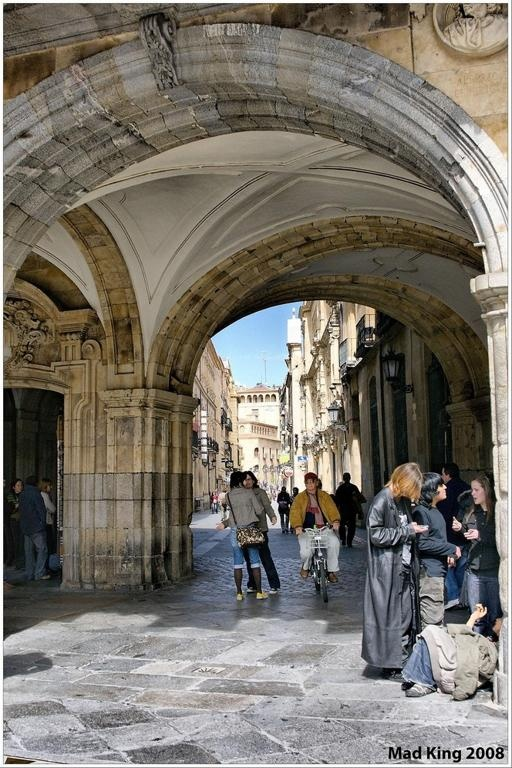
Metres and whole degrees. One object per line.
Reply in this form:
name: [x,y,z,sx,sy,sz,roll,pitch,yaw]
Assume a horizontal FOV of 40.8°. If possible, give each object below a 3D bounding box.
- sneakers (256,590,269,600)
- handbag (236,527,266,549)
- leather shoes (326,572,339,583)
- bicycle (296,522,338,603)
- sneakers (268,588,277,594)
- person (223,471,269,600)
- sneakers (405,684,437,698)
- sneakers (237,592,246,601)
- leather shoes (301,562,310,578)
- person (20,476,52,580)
sneakers: [0.063,2.443,7.970,0.078,0.075,0.166,0,2,16]
handbag: [-0.082,1.739,7.757,0.308,0.244,0.120,-3,-37,-19]
leather shoes: [0.867,2.227,7.927,0.141,0.162,0.415,-2,-16,2]
bicycle: [0.713,2.071,7.966,0.439,0.514,0.886,-3,-16,1]
sneakers: [0.200,2.539,8.427,0.066,0.066,0.171,-2,-16,11]
person: [-0.133,1.754,7.982,0.461,1.464,0.644,-5,-8,-2]
sneakers: [0.938,1.753,3.932,0.167,0.063,0.058,16,23,-30]
sneakers: [-0.181,2.428,7.850,0.046,0.059,0.139,1,4,12]
leather shoes: [0.556,2.154,7.883,0.095,0.265,0.093,0,-1,9]
person: [-3.328,2.231,10.273,0.355,1.394,0.664,-3,-8,-19]
